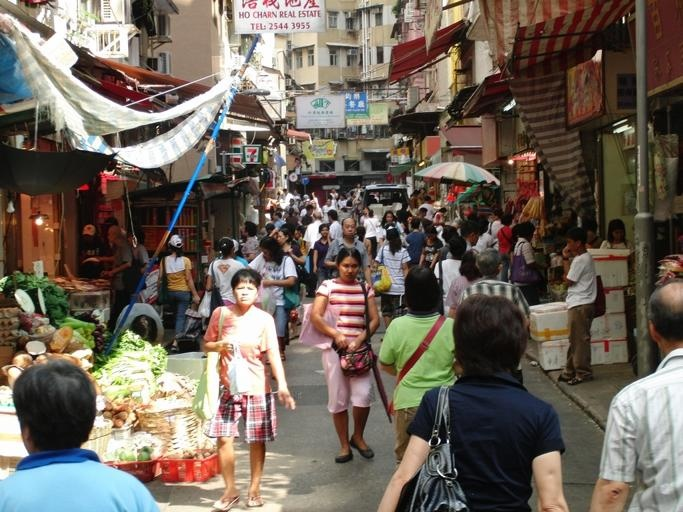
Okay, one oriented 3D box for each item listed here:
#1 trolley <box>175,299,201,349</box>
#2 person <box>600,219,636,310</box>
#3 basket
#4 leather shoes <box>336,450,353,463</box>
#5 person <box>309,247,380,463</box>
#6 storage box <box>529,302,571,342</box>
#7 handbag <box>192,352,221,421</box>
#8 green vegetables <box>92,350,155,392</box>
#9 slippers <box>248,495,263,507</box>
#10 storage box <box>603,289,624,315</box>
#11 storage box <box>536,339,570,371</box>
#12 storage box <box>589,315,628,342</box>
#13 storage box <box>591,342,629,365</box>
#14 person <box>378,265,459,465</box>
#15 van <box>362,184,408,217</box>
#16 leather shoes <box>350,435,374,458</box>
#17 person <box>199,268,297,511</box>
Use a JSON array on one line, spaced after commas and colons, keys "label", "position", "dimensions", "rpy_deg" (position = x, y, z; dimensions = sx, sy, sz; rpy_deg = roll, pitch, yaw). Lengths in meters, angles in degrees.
[{"label": "trolley", "position": [-2.460, 1.079, 11.665], "dimensions": [0.422, 0.713, 1.022], "rpy_deg": [0, 23, -7]}, {"label": "person", "position": [3.820, 0.109, 10.133], "dimensions": [0.414, 1.168, 0.459], "rpy_deg": [7, 11, 15]}, {"label": "basket", "position": [-1.826, 1.774, 6.934], "dimensions": [1.316, 0.706, 1.341], "rpy_deg": [3, 9, -19]}, {"label": "leather shoes", "position": [0.023, 1.868, 6.804], "dimensions": [0.071, 0.086, 0.211], "rpy_deg": [-5, -11, 18]}, {"label": "person", "position": [0.030, 0.915, 6.865], "dimensions": [0.651, 1.948, 0.785], "rpy_deg": [2, 10, 1]}, {"label": "storage box", "position": [2.760, 0.873, 9.859], "dimensions": [0.494, 0.344, 0.504], "rpy_deg": [-5, 4, -9]}, {"label": "handbag", "position": [-1.163, 1.127, 6.258], "dimensions": [0.242, 0.787, 0.610], "rpy_deg": [1, -12, -3]}, {"label": "green vegetables", "position": [-2.269, 1.213, 7.735], "dimensions": [0.479, 0.319, 0.460], "rpy_deg": [8, 10, 23]}, {"label": "slippers", "position": [-0.698, 1.958, 5.847], "dimensions": [0.082, 0.040, 0.162], "rpy_deg": [0, -3, -7]}, {"label": "storage box", "position": [3.642, 0.618, 9.732], "dimensions": [0.289, 0.306, 0.301], "rpy_deg": [0, -2, 7]}, {"label": "storage box", "position": [2.855, 1.337, 9.941], "dimensions": [0.386, 0.401, 0.403], "rpy_deg": [-2, 0, -4]}, {"label": "storage box", "position": [3.580, 0.956, 9.763], "dimensions": [0.572, 0.411, 0.323], "rpy_deg": [0, 1, -8]}, {"label": "storage box", "position": [3.618, 1.288, 9.817], "dimensions": [0.536, 0.365, 0.303], "rpy_deg": [1, -3, -21]}, {"label": "person", "position": [0.626, 0.717, 5.373], "dimensions": [0.540, 1.371, 0.524], "rpy_deg": [23, 9, 24]}, {"label": "van", "position": [1.572, -1.874, 25.917], "dimensions": [1.099, 1.064, 1.765], "rpy_deg": [-1, 10, -3]}, {"label": "leather shoes", "position": [0.198, 1.788, 6.905], "dimensions": [0.103, 0.121, 0.286], "rpy_deg": [2, 11, -39]}, {"label": "person", "position": [-0.775, 1.056, 5.933], "dimensions": [0.650, 1.915, 0.576], "rpy_deg": [-3, 4, -12]}]
